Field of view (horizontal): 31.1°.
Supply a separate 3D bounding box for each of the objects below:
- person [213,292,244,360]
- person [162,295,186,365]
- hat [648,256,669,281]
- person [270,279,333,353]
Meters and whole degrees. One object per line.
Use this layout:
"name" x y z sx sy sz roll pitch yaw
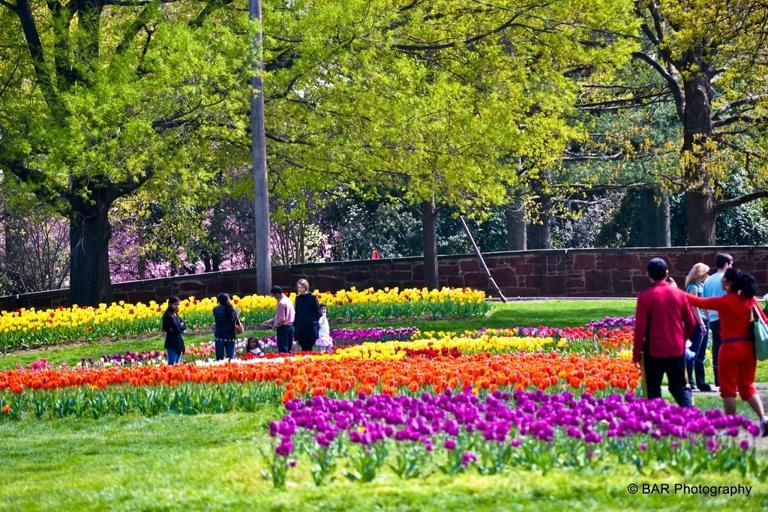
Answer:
"person" -3.714 1.685 32.892 0.659 1.576 1.210 -3 -4 -7
"person" -4.973 1.772 32.762 0.481 1.572 1.412 -2 -4 -9
"hat" 5.546 0.279 27.945 0.417 0.581 0.445 0 28 12
"person" -2.058 1.566 34.183 1.183 2.143 1.164 -10 -21 30
